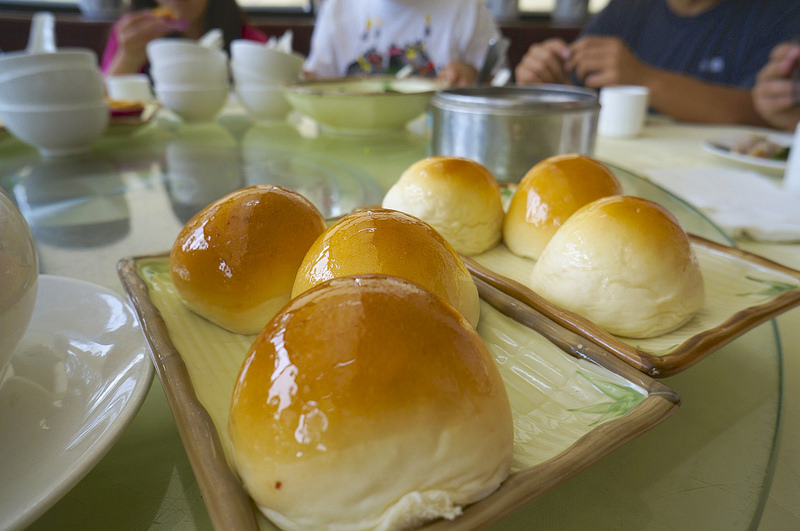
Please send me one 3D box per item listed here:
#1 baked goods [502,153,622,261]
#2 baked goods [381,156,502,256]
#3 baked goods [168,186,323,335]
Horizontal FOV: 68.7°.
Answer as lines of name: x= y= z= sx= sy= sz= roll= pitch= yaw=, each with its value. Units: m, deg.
baked goods: x=0.201 y=-0.066 z=0.758 sx=0.122 sy=0.129 sz=0.129 roll=6 pitch=9 yaw=-33
baked goods: x=0.050 y=-0.047 z=0.739 sx=0.124 sy=0.079 sz=0.125 roll=16 pitch=30 yaw=-3
baked goods: x=-0.156 y=0.021 z=0.644 sx=0.138 sy=0.103 sz=0.146 roll=29 pitch=58 yaw=26
